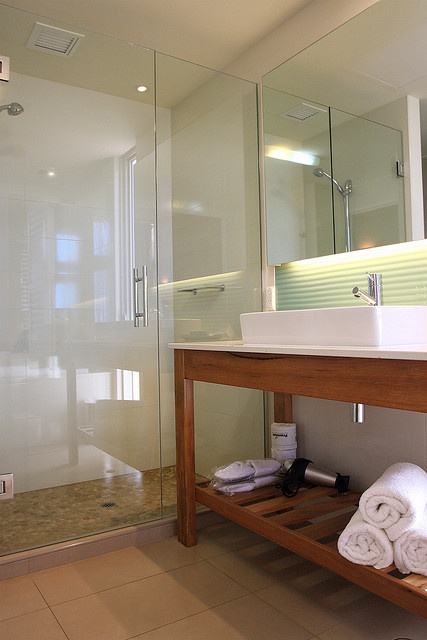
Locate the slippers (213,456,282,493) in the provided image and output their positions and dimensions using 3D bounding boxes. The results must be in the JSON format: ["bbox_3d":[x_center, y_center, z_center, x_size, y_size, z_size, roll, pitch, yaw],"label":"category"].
[{"bbox_3d":[0.145,0.662,2.127,0.204,0.064,0.129,2,-7,-30],"label":"slippers"}]
